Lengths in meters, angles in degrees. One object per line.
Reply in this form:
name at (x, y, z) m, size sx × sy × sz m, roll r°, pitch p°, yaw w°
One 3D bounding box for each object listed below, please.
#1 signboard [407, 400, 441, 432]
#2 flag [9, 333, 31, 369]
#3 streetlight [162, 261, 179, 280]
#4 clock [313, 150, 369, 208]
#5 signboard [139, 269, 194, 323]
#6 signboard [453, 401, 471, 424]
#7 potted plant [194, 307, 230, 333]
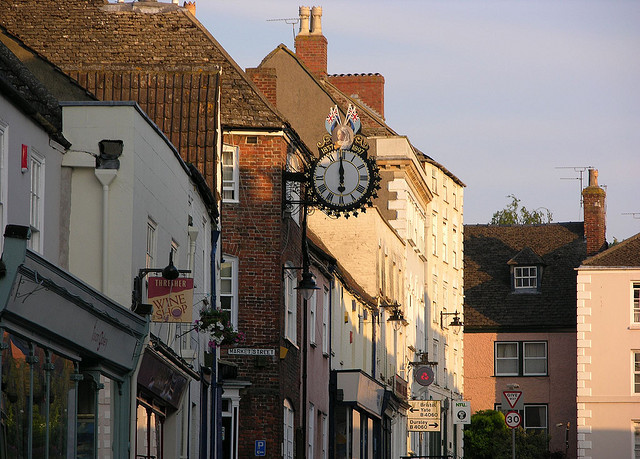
signboard at (3.920, 6.952, 78.060) m, size 1.220 × 1.184 × 0.456 m, roll 0°, pitch -9°, yaw 7°
flag at (-7.201, 2.946, 50.335) m, size 0.059 × 0.682 × 0.903 m, roll -5°, pitch -15°, yaw 25°
streetlight at (-3.924, 1.080, 55.013) m, size 0.366 × 0.443 × 0.393 m, roll 9°, pitch -25°, yaw -16°
clock at (0.705, -1.526, 64.360) m, size 1.419 × 1.791 × 1.351 m, roll -3°, pitch -8°, yaw 14°
signboard at (-4.099, 1.793, 55.161) m, size 1.239 × 1.412 × 0.069 m, roll 1°, pitch -11°, yaw -4°
signboard at (5.323, 6.826, 78.272) m, size 0.574 × 0.868 × 0.907 m, roll -2°, pitch -15°, yaw 7°
potted plant at (-3.052, 2.584, 59.163) m, size 0.682 × 0.650 × 0.717 m, roll -1°, pitch 8°, yaw -16°
